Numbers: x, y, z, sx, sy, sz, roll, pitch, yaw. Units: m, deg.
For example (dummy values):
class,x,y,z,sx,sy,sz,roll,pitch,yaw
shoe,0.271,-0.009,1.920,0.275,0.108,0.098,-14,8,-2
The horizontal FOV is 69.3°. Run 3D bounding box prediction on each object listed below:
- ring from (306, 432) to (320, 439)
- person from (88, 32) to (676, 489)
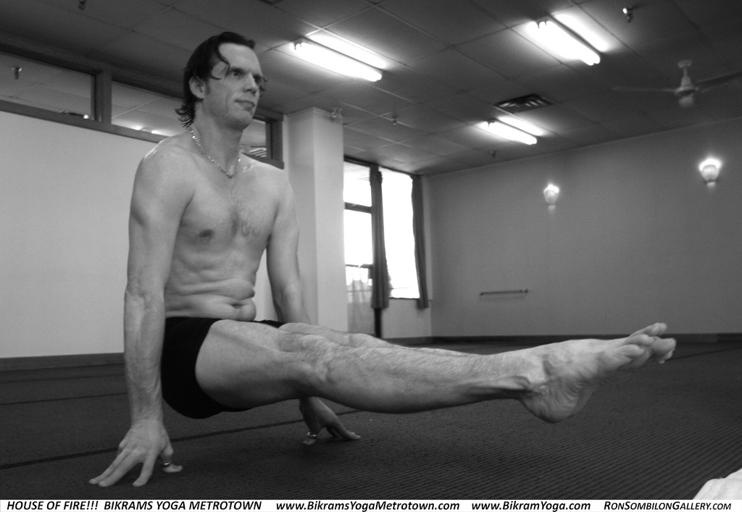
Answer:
class,x,y,z,sx,sy,sz,roll,pitch,yaw
ring,-0.192,0.588,1.782,0.032,0.036,0.058,0,-17,0
person,-0.038,0.002,1.962,1.824,1.308,1.203,3,-4,22
